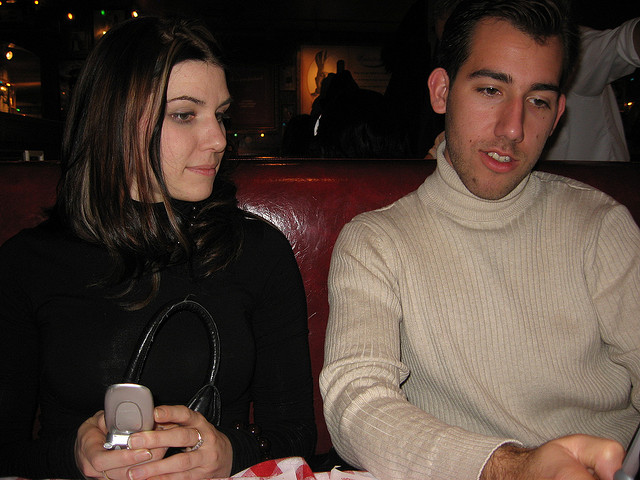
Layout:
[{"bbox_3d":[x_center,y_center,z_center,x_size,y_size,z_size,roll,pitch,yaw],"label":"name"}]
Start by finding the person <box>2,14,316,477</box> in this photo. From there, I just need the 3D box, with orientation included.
[{"bbox_3d":[-0.427,-0.005,1.573,0.789,1.232,0.668,-4,11,-42],"label":"person"}]

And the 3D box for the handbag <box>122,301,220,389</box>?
[{"bbox_3d":[-0.379,0.286,1.496,0.271,0.253,0.220,0,9,-23],"label":"handbag"}]

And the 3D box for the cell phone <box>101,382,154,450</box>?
[{"bbox_3d":[-0.416,0.388,1.236,0.102,0.183,0.081,1,9,-16],"label":"cell phone"}]
